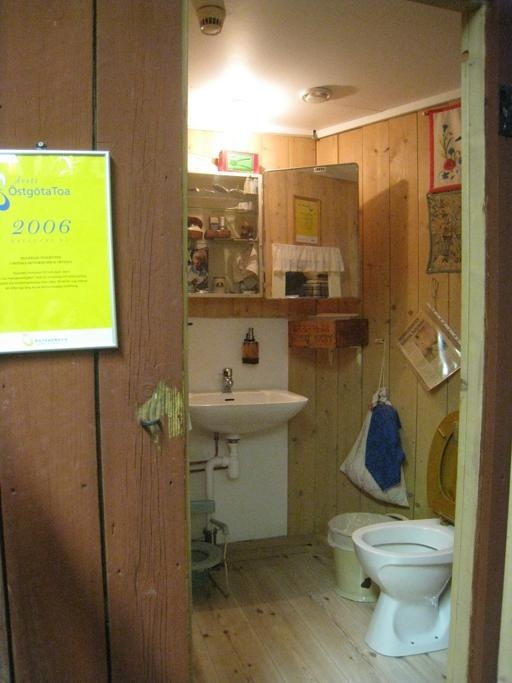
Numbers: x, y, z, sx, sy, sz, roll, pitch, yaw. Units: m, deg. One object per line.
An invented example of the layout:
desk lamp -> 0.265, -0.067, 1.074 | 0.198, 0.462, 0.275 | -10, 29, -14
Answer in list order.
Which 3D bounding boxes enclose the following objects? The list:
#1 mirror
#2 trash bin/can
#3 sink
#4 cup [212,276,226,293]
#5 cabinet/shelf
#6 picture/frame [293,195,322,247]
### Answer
mirror -> 0.250, -0.559, 2.771 | 0.552, 0.835, 0.039 | -1, 2, 1
trash bin/can -> 0.411, 0.899, 2.596 | 0.309, 0.291, 0.295 | -1, 2, 38
sink -> -0.051, 0.335, 2.795 | 0.513, 0.247, 0.529 | -1, 3, -9
cup -> -0.167, -0.309, 2.784 | 0.064, 0.112, 0.067 | 1, 4, 0
cabinet/shelf -> -0.203, -0.524, 2.869 | 0.523, 0.557, 0.187 | -4, 6, -43
picture/frame -> 0.232, -0.610, 2.780 | 0.134, 0.219, 0.012 | 14, 30, 30
